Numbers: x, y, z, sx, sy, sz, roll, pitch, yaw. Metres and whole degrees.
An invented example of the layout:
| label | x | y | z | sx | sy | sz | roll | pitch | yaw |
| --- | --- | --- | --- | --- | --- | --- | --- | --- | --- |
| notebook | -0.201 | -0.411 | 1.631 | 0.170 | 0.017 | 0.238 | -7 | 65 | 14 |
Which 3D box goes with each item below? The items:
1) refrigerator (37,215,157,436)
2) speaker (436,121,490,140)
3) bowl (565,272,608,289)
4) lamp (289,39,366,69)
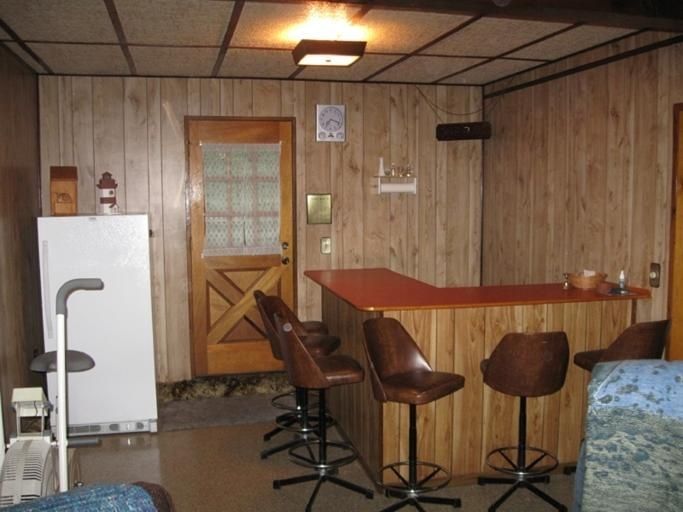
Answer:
| label | x | y | z | sx | sy | sz | roll | pitch | yaw |
| --- | --- | --- | --- | --- | --- | --- | --- | --- | --- |
| refrigerator | -1.903 | 0.559 | 4.755 | 0.859 | 1.774 | 0.295 | -6 | 12 | -11 |
| speaker | 1.248 | -1.273 | 6.120 | 0.535 | 0.160 | 0.085 | 0 | 12 | 16 |
| bowl | 1.799 | 0.172 | 4.391 | 0.237 | 0.103 | 0.271 | 5 | 13 | 37 |
| lamp | -0.077 | -1.388 | 4.098 | 0.293 | 0.073 | 0.286 | -1 | 7 | -16 |
